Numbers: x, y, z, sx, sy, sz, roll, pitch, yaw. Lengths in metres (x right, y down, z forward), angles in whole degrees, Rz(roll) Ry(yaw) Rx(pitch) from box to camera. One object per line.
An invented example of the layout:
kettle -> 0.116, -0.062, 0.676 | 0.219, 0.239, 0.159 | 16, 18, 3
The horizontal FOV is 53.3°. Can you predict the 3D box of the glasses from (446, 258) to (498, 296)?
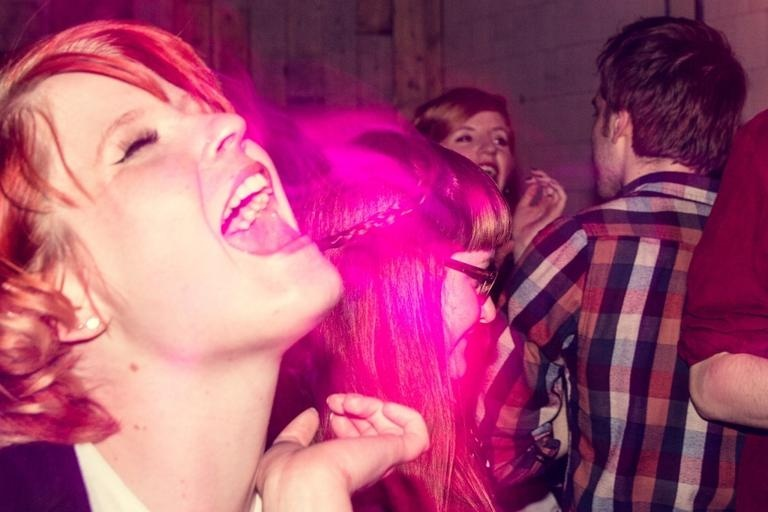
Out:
glasses -> 0.317, 0.067, 2.768 | 0.145, 0.048, 0.143 | 21, -8, 2
